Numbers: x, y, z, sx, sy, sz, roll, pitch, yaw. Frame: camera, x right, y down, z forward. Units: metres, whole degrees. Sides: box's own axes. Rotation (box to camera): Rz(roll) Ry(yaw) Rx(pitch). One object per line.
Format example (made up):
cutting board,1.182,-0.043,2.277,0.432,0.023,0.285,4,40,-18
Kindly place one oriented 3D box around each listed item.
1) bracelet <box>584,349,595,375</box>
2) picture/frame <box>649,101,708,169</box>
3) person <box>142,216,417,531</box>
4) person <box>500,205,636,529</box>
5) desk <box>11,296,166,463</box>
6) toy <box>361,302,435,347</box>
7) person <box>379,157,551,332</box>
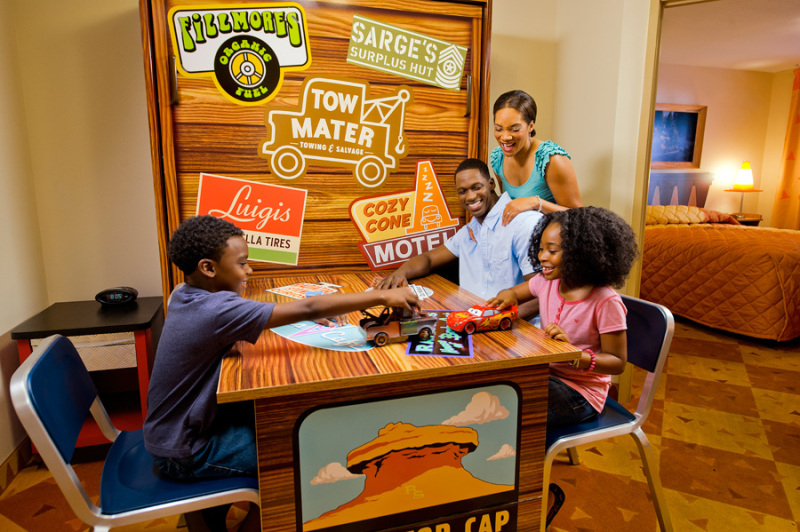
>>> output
bracelet,0.819,0.408,2.243,0.034,0.078,0.063,5,-4,-27
picture/frame,3.281,-1.526,6.183,0.810,0.747,0.140,-4,12,-24
person,-0.761,0.236,2.644,1.076,1.511,0.999,-9,23,-31
person,0.749,0.304,2.525,0.754,1.199,0.567,4,10,9
desk,-1.732,0.630,3.369,0.855,0.867,0.845,-2,10,-10
toy,-0.011,0.261,2.287,0.281,0.166,0.153,-4,12,-13
person,0.341,-0.121,2.830,0.762,0.803,0.289,-27,-10,31
